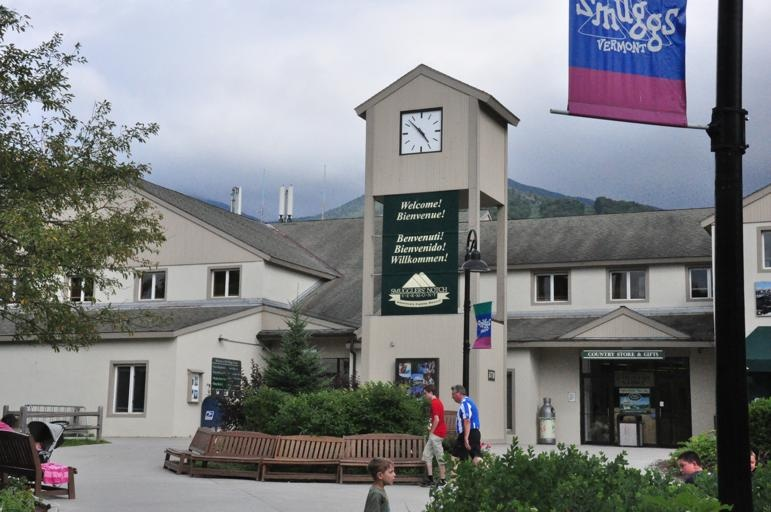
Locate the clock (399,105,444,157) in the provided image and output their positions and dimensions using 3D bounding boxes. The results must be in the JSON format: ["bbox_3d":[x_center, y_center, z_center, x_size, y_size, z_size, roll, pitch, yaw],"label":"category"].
[{"bbox_3d":[1.307,-4.283,44.281,1.725,1.860,0.159,-2,-6,21],"label":"clock"}]

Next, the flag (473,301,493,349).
[{"bbox_3d":[2.680,1.951,34.979,0.431,1.235,0.747,3,-11,-3],"label":"flag"}]

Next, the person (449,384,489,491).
[{"bbox_3d":[2.158,4.496,33.828,0.789,2.070,1.307,2,-11,3],"label":"person"}]

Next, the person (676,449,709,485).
[{"bbox_3d":[7.003,4.923,29.344,0.445,0.778,1.591,0,-11,13],"label":"person"}]
